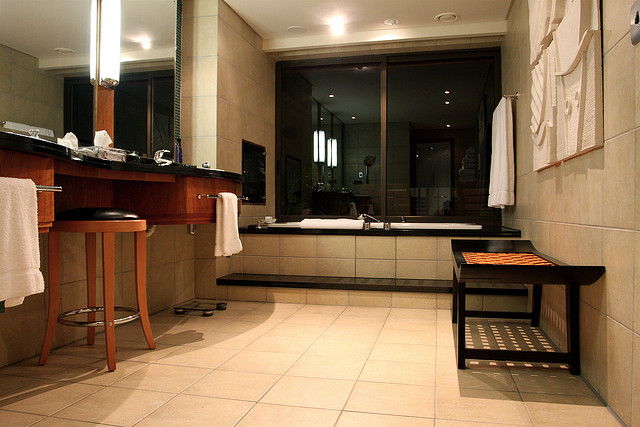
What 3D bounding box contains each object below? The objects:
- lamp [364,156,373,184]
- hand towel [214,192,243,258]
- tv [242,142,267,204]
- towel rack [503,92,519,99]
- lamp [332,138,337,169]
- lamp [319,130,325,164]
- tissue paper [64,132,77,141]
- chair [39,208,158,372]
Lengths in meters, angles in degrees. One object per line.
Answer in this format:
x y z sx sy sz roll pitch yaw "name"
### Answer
0.617 -0.551 6.050 0.101 0.344 0.073 0 11 1 "lamp"
-0.736 0.083 3.902 0.179 0.508 0.346 5 12 26 "hand towel"
-0.778 -0.441 5.604 0.025 0.768 0.750 -5 11 -29 "tv"
1.900 -1.167 4.735 0.142 0.060 0.390 4 11 21 "towel rack"
0.193 -0.778 6.157 0.062 0.382 0.066 1 11 5 "lamp"
0.027 -0.863 6.188 0.066 0.432 0.070 0 11 0 "lamp"
-1.851 -0.576 3.549 0.079 0.051 0.107 9 14 41 "tissue paper"
-1.510 0.452 3.526 0.745 1.093 1.011 2 11 11 "chair"
